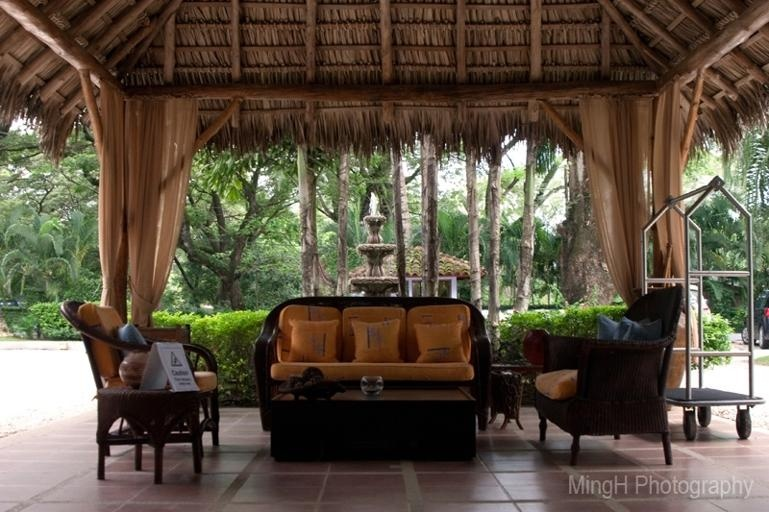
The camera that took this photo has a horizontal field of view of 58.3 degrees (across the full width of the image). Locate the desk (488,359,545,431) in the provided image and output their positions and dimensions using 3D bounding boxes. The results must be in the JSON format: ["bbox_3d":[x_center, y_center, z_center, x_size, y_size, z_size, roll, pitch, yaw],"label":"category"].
[{"bbox_3d":[1.367,1.406,7.382,0.473,0.742,0.477,2,3,5],"label":"desk"}]

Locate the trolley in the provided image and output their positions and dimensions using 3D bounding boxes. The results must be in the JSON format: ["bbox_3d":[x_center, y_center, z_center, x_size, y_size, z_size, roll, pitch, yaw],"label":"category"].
[{"bbox_3d":[4.774,0.690,10.037,1.531,4.702,1.301,-2,0,-2],"label":"trolley"}]

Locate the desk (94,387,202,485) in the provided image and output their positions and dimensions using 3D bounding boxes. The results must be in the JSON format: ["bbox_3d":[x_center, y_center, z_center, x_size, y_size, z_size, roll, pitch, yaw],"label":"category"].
[{"bbox_3d":[-2.038,1.531,6.127,0.777,0.758,0.894,1,-1,-10],"label":"desk"}]

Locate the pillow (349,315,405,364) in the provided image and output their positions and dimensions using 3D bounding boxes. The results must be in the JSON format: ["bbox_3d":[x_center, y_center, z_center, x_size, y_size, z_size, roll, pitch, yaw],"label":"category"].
[{"bbox_3d":[-0.075,0.818,7.138,0.503,0.507,0.363,0,-2,-4],"label":"pillow"}]

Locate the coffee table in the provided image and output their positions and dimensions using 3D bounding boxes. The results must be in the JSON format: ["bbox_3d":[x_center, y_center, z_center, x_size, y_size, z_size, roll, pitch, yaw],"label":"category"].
[{"bbox_3d":[-0.103,1.533,6.149,1.808,0.551,0.112,0,6,0],"label":"coffee table"}]

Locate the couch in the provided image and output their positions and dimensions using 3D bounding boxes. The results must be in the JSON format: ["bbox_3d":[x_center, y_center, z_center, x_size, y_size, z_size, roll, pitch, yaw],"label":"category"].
[{"bbox_3d":[-0.010,1.147,7.924,2.396,1.314,2.405,2,1,11],"label":"couch"}]

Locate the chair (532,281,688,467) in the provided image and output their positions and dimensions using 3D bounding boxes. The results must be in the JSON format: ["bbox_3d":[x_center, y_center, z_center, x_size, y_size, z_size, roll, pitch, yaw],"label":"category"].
[{"bbox_3d":[2.021,1.169,6.882,1.332,1.936,1.612,3,-8,-5],"label":"chair"}]

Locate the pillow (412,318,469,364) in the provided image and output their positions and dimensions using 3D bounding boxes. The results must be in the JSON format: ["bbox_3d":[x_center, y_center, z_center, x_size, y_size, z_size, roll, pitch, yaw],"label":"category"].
[{"bbox_3d":[0.581,0.887,7.095,0.514,0.498,0.384,0,-2,0],"label":"pillow"}]
